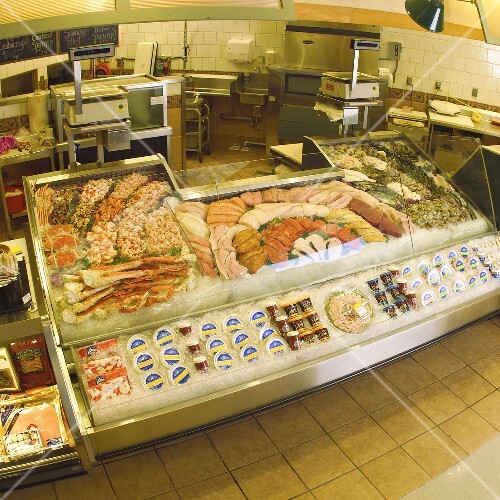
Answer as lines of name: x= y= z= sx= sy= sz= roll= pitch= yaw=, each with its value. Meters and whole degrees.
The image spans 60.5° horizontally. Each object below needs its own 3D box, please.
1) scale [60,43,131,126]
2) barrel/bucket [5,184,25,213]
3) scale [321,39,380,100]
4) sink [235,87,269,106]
scale: x=-0.775 y=-0.792 z=2.102 sx=0.258 sy=0.398 sz=0.447 roll=-16 pitch=35 yaw=-16
barrel/bucket: x=-2.700 y=-0.603 z=4.967 sx=0.259 sy=0.212 sz=0.337 roll=-14 pitch=40 yaw=-23
scale: x=0.778 y=-1.393 z=3.344 sx=0.373 sy=0.379 sz=0.428 roll=-9 pitch=28 yaw=-12
sink: x=0.039 y=-2.757 z=7.815 sx=0.509 sy=0.145 sz=0.334 roll=3 pitch=37 yaw=1
